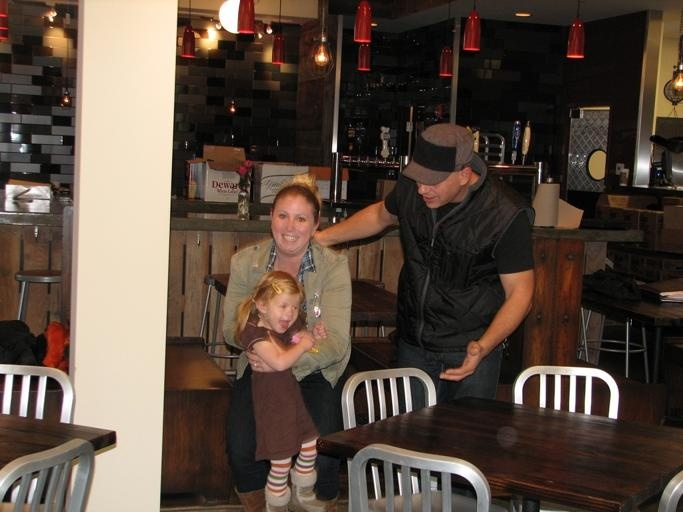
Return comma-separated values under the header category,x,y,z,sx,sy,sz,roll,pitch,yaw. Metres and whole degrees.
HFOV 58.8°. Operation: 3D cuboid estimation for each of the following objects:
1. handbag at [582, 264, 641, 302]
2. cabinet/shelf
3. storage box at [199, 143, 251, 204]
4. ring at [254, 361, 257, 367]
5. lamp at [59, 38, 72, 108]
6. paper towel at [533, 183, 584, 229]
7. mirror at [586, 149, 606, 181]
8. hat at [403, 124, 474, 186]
category,x,y,z,sx,sy,sz,roll,pitch,yaw
handbag,1.938,0.183,4.390,0.242,0.108,0.289,4,3,-17
cabinet/shelf,-0.767,0.888,3.203,0.338,0.436,0.885,-2,10,-13
storage box,-1.265,-0.904,6.470,0.621,0.750,0.775,1,3,-16
ring,-0.382,0.478,2.688,0.016,0.016,0.004,0,-1,20
lamp,-3.894,-2.607,8.573,0.121,0.961,0.234,0,3,-26
paper towel,1.421,-0.320,4.007,0.302,0.287,0.196,6,5,10
mirror,4.008,-1.434,9.555,0.087,0.503,0.353,0,3,-21
hat,0.416,-0.433,2.562,0.309,0.154,0.213,-32,46,-33
